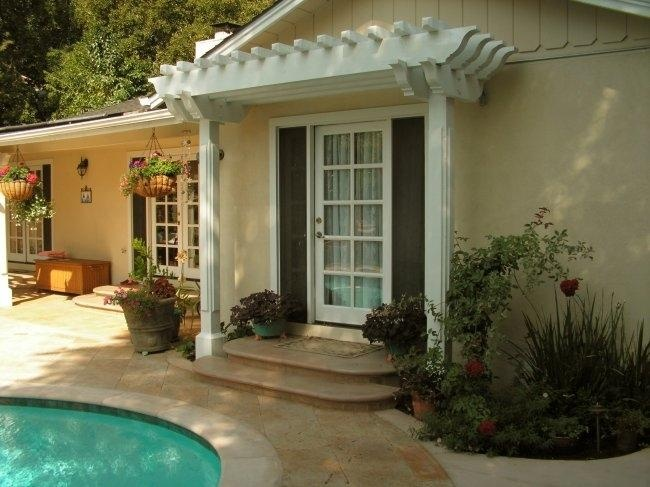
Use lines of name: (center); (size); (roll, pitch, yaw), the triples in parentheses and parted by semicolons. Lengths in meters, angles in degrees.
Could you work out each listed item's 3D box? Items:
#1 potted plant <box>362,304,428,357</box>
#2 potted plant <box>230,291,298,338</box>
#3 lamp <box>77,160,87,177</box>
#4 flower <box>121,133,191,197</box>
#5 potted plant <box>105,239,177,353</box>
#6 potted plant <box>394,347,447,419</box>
potted plant: (0.728, 0.843, 6.068); (0.530, 0.513, 0.577); (2, 9, 22)
potted plant: (-0.699, 0.865, 7.084); (0.633, 0.458, 0.657); (-2, 9, 2)
lamp: (-4.885, -1.524, 11.733); (0.399, 0.266, 0.142); (1, -1, 44)
flower: (-2.145, -1.055, 7.534); (0.582, 0.856, 0.706); (-6, 3, -23)
potted plant: (-2.350, 0.675, 7.452); (0.983, 1.404, 0.968); (-2, -3, 2)
potted plant: (0.892, 1.270, 5.411); (0.465, 0.664, 0.252); (1, -1, 7)
